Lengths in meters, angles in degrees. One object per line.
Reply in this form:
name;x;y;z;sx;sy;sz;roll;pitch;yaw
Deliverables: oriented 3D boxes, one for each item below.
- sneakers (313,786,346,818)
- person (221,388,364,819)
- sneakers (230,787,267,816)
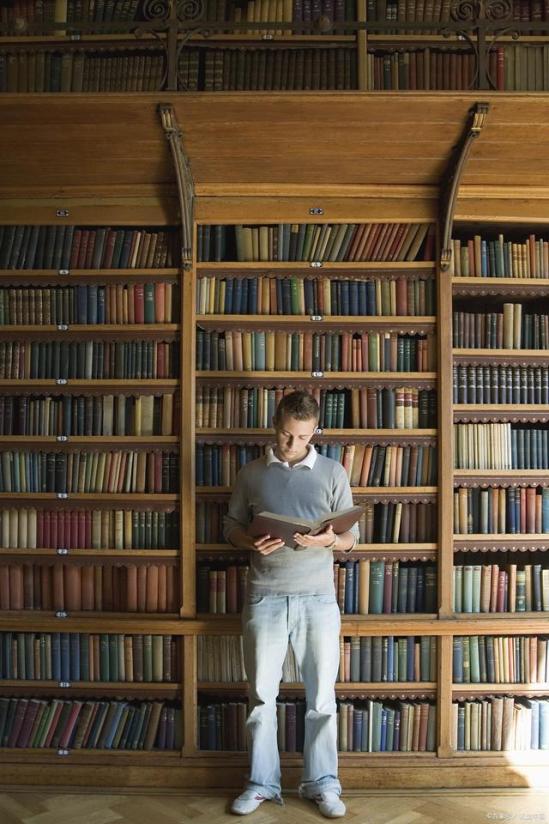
sneakers;0.211;1.495;4.058;0.121;0.102;0.133;-1;-13;2
person;0.068;0.744;4.088;0.509;1.576;0.680;1;-13;-3
sneakers;-0.108;1.483;4.051;0.071;0.049;0.134;-4;-7;30
